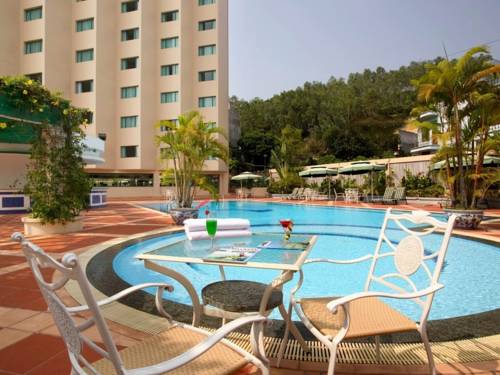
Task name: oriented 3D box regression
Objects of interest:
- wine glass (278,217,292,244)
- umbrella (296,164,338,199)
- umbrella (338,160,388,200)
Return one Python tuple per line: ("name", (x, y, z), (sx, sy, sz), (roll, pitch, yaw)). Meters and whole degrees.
("wine glass", (0.430, 0.474, 3.818), (0.218, 0.264, 0.226), (-1, -2, 0))
("umbrella", (5.131, -0.435, 24.339), (2.720, 2.279, 2.714), (-2, -1, 20))
("umbrella", (7.731, -0.648, 21.782), (2.763, 2.321, 2.853), (-4, 0, 34))
